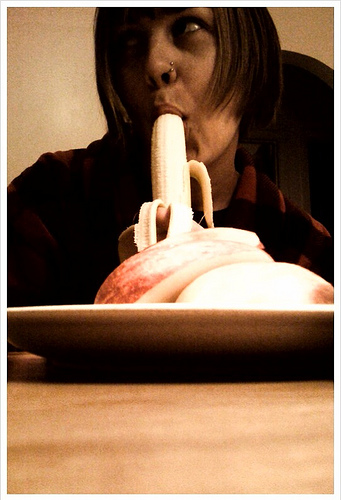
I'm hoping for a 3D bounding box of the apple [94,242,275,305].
[{"bbox_3d":[0.004,0.017,0.347,0.125,0.043,0.051,-1,2,7],"label":"apple"}]
